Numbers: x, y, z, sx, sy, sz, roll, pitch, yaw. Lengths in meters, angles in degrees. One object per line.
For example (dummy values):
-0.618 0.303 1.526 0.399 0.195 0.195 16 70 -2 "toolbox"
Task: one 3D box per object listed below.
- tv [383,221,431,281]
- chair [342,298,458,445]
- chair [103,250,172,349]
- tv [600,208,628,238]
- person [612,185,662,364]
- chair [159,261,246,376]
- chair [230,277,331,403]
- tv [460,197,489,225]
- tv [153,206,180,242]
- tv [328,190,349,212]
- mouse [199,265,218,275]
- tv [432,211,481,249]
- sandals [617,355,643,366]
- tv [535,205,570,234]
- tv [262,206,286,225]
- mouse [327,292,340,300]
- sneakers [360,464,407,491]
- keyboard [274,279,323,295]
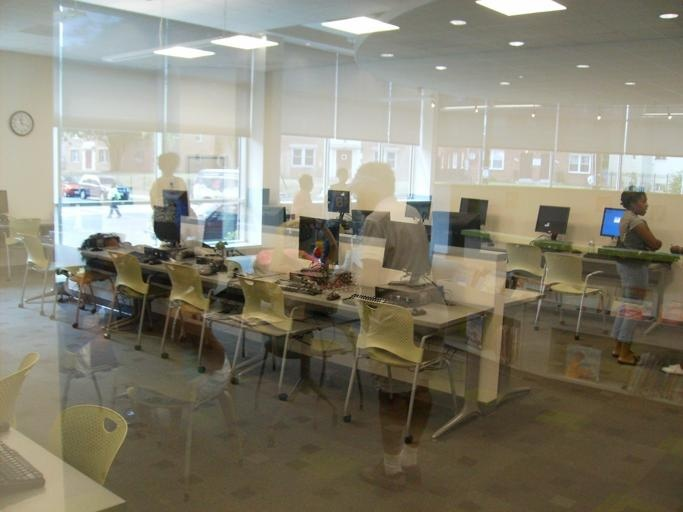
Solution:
0.376 -0.041 2.919 0.320 0.308 0.185 5 7 39 "tv"
0.366 0.639 3.227 0.679 0.781 0.718 1 5 4 "chair"
-1.669 0.319 4.313 0.462 0.724 0.441 10 13 29 "chair"
1.266 -0.156 2.401 0.011 0.144 0.122 -4 12 -31 "tv"
1.408 0.130 2.502 0.181 0.902 0.307 5 8 26 "person"
-1.078 0.388 3.989 0.528 0.717 0.602 12 9 31 "chair"
-0.435 0.526 3.638 0.615 0.738 0.593 10 10 39 "chair"
0.699 -0.237 2.739 0.149 0.138 0.030 3 8 16 "tv"
-1.278 -0.236 3.807 0.275 0.245 0.064 16 15 30 "tv"
-0.021 -0.329 3.047 0.128 0.118 0.016 4 25 5 "tv"
-0.931 0.088 3.626 0.084 0.037 0.085 11 12 43 "mouse"
0.597 -0.146 2.832 0.208 0.123 0.208 5 8 30 "tv"
1.477 0.536 2.659 0.114 0.046 0.042 -1 7 21 "sandals"
1.037 -0.173 2.543 0.135 0.124 0.018 9 -16 1 "tv"
-0.409 -0.245 3.188 0.197 0.126 0.059 7 10 41 "tv"
-0.050 0.247 3.145 0.073 0.043 0.050 2 4 16 "mouse"
0.246 1.355 3.151 0.212 0.133 0.053 16 -12 13 "sneakers"
-0.251 0.196 3.223 0.247 0.082 0.024 5 10 22 "keyboard"
